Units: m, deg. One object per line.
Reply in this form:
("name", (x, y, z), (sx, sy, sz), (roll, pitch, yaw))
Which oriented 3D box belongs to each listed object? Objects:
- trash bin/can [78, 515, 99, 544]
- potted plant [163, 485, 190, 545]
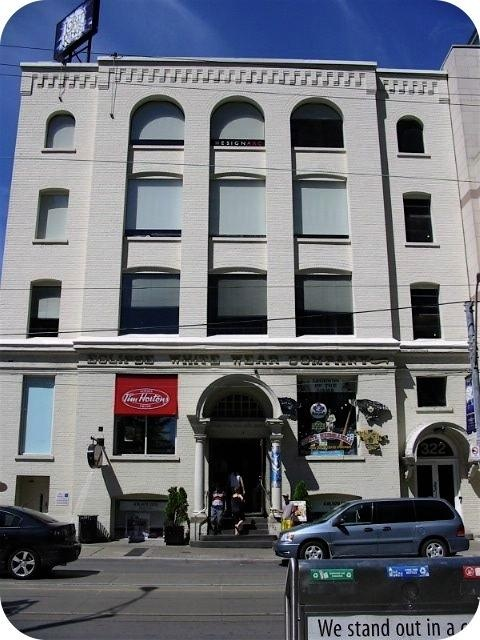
("trash bin/can", (-4.658, 6.511, 22.550), (0.775, 0.996, 0.740), (-1, -10, 6))
("potted plant", (-1.906, 6.076, 22.441), (0.660, 1.830, 0.861), (-11, -25, 26))
